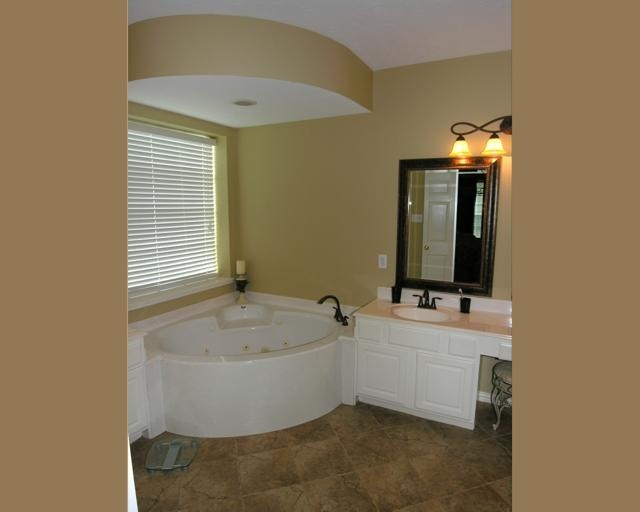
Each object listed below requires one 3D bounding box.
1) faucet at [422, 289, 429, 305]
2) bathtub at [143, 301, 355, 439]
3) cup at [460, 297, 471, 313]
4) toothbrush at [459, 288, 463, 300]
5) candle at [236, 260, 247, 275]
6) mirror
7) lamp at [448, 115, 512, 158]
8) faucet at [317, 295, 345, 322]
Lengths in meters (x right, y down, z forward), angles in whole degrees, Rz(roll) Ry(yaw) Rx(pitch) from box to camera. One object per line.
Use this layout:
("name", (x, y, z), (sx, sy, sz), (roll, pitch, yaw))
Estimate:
("faucet", (0.566, 0.216, 2.580), (0.031, 0.085, 0.121), (1, 8, 11))
("bathtub", (-0.368, 0.542, 2.559), (1.049, 0.377, 0.946), (-4, 9, -21))
("cup", (0.707, 0.238, 2.386), (0.063, 0.083, 0.067), (1, 12, 0))
("toothbrush", (0.725, 0.196, 2.484), (0.012, 0.025, 0.063), (-6, 43, 19))
("candle", (-0.530, 0.072, 3.249), (0.079, 0.093, 0.082), (0, 5, 15))
("mirror", (0.670, -0.157, 2.586), (0.486, 0.938, 0.089), (0, -35, 18))
("lamp", (0.691, -0.518, 2.080), (0.103, 0.151, 0.298), (-15, 14, -32))
("faucet", (0.069, 0.279, 2.781), (0.125, 0.140, 0.182), (0, -2, -3))
